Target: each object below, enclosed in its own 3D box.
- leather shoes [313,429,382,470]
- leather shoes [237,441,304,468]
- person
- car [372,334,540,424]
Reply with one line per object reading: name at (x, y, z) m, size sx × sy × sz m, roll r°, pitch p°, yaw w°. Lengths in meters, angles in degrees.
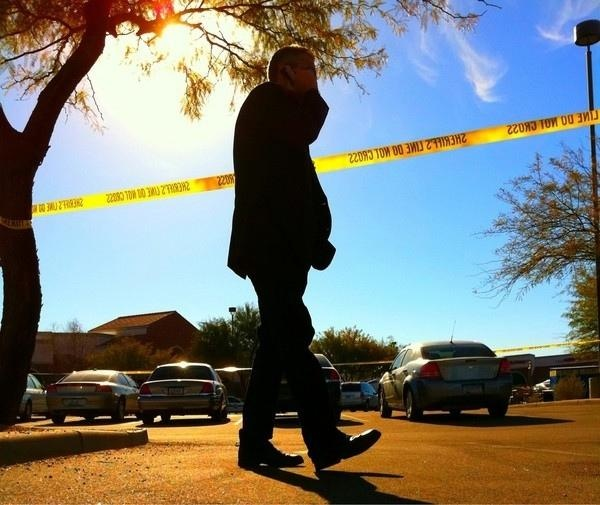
leather shoes at (0.247, 1.056, 3.045) m, size 0.442 × 0.192 × 0.165 m, roll 6°, pitch -11°, yaw -31°
leather shoes at (-0.174, 1.117, 3.228) m, size 0.367 × 0.202 × 0.140 m, roll -2°, pitch -6°, yaw -10°
person at (-0.064, 0.099, 3.213) m, size 0.685 × 2.156 × 0.373 m, roll 0°, pitch -9°, yaw 0°
car at (2.789, 2.583, 11.713) m, size 1.601 × 1.529 × 2.987 m, roll 3°, pitch -11°, yaw -20°
